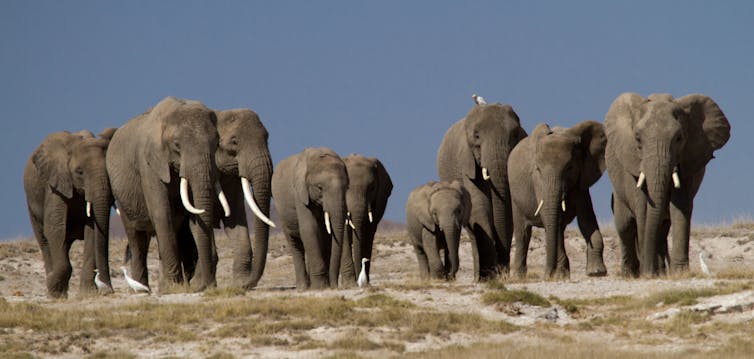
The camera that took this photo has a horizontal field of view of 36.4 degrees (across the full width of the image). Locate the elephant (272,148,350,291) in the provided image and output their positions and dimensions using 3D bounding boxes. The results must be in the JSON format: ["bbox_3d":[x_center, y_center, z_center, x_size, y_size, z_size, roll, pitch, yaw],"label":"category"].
[{"bbox_3d":[-2.413,1.527,43.746,3.020,5.612,5.403,1,1,-8],"label":"elephant"}]

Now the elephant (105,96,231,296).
[{"bbox_3d":[-7.686,0.666,42.328,4.401,7.561,7.098,0,1,-18],"label":"elephant"}]

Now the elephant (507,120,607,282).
[{"bbox_3d":[6.839,0.747,44.216,3.608,6.529,3.301,0,-1,-34],"label":"elephant"}]

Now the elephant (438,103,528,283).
[{"bbox_3d":[4.327,0.680,45.560,4.167,7.143,8.152,1,0,-5],"label":"elephant"}]

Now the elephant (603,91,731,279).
[{"bbox_3d":[11.247,0.201,44.789,4.699,7.181,10.801,0,1,15],"label":"elephant"}]

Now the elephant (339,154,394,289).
[{"bbox_3d":[-0.756,1.655,47.486,2.909,5.128,7.967,1,0,-1],"label":"elephant"}]
